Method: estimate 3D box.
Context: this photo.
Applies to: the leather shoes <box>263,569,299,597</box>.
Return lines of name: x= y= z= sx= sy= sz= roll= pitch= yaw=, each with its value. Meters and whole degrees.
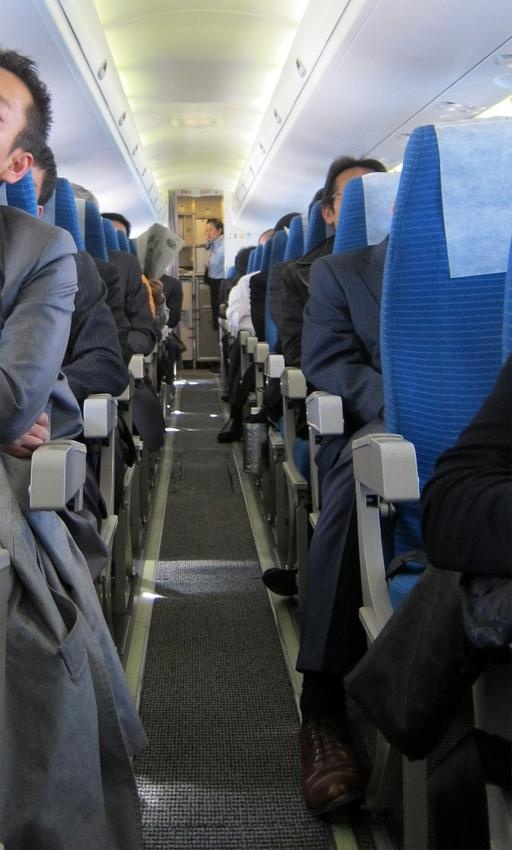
leather shoes: x=0.105 y=0.677 z=2.346 sx=0.144 sy=0.103 sz=0.060 roll=13 pitch=-6 yaw=-21
